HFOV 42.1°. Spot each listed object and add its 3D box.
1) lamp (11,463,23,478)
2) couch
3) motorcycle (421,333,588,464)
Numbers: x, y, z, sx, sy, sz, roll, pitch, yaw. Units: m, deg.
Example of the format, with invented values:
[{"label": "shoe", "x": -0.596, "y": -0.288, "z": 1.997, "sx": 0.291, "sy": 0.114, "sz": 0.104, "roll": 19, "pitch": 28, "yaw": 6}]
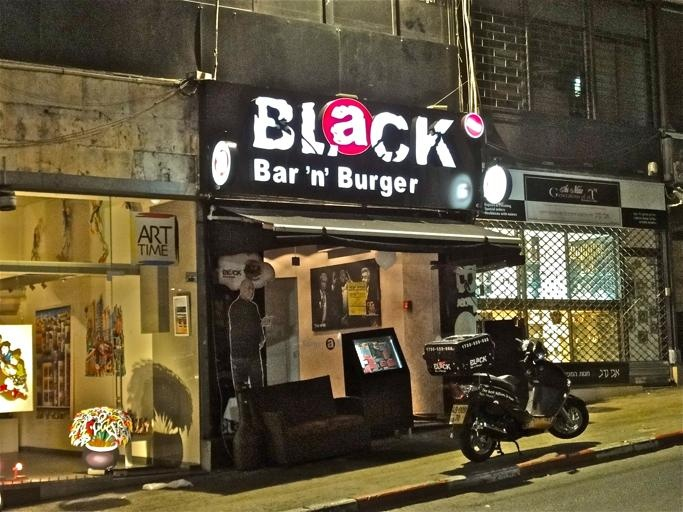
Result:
[{"label": "lamp", "x": -4.771, "y": 3.152, "z": 13.135, "sx": 0.142, "sy": 0.164, "sz": 0.145, "roll": -10, "pitch": -13, "yaw": 38}, {"label": "couch", "x": -0.513, "y": 2.684, "z": 14.652, "sx": 1.069, "sy": 1.326, "sz": 2.180, "roll": -10, "pitch": -7, "yaw": 38}, {"label": "motorcycle", "x": 2.465, "y": 2.141, "z": 13.771, "sx": 1.953, "sy": 1.909, "sz": 0.609, "roll": -1, "pitch": -5, "yaw": -19}]
